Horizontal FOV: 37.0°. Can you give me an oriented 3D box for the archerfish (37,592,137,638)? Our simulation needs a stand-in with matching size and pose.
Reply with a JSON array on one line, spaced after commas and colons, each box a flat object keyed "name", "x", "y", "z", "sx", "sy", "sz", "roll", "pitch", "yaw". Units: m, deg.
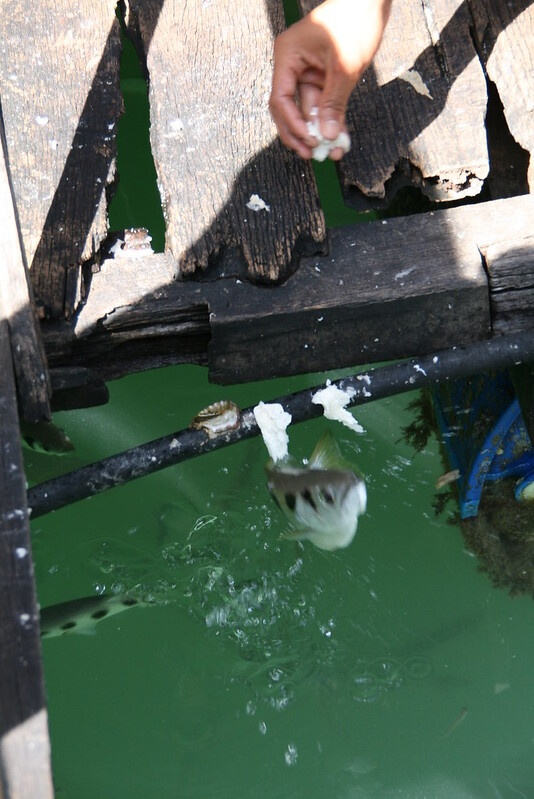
[{"name": "archerfish", "x": -0.848, "y": 0.999, "z": 3.714, "sx": 0.284, "sy": 0.647, "sz": 0.162, "roll": -11, "pitch": 82, "yaw": 7}]
